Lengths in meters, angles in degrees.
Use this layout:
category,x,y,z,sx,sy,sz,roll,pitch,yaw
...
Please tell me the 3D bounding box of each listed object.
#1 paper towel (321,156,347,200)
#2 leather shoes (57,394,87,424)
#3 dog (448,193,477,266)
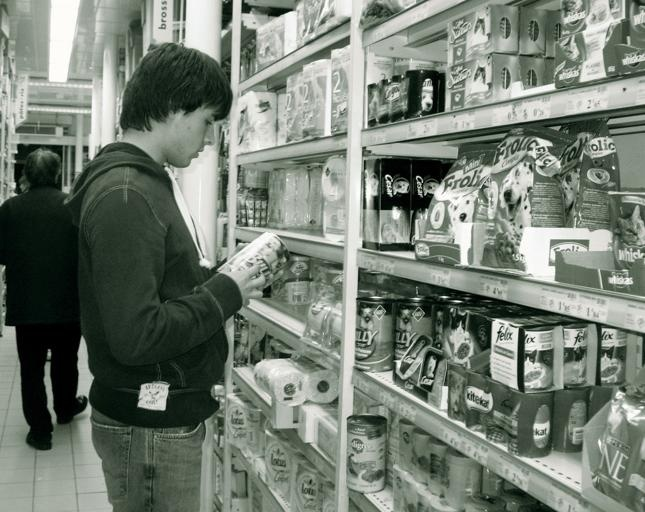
category,x,y,z,sx,sy,sz,roll,pitch,yaw
paper towel,0.046,-0.300,2.341,0.095,0.162,0.152,0,-2,-3
leather shoes,-2.080,1.276,5.116,0.087,0.129,0.292,7,28,13
dog,0.373,-0.070,1.611,0.061,0.172,0.139,0,8,12
